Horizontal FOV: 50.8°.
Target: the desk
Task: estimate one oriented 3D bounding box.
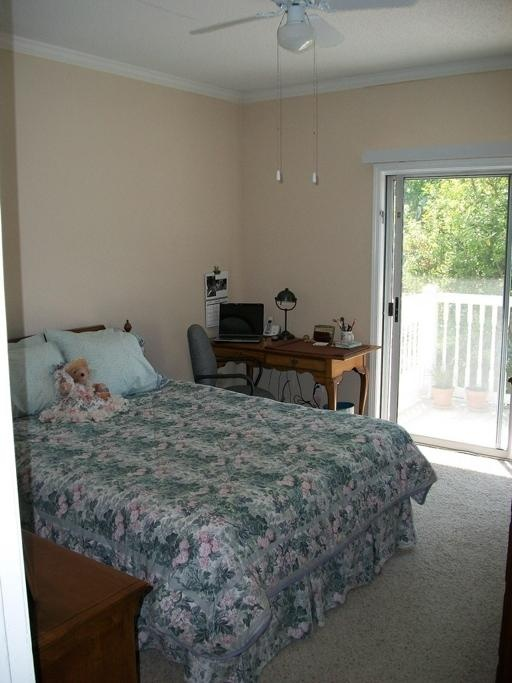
[{"bbox_3d":[0.292,0.447,4.841,1.416,0.990,0.708,6,16,37],"label":"desk"}]

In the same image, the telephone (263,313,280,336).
[{"bbox_3d":[0.140,-0.154,5.082,0.136,0.188,0.055,-4,-21,44],"label":"telephone"}]

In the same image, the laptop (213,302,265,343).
[{"bbox_3d":[-0.139,-0.170,4.754,0.423,0.323,0.311,2,1,1],"label":"laptop"}]

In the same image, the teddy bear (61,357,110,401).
[{"bbox_3d":[-1.030,0.247,3.243,0.226,0.303,0.300,-10,-7,33],"label":"teddy bear"}]

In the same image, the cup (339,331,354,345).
[{"bbox_3d":[0.744,-0.024,4.513,0.119,0.115,0.097,2,5,36],"label":"cup"}]
